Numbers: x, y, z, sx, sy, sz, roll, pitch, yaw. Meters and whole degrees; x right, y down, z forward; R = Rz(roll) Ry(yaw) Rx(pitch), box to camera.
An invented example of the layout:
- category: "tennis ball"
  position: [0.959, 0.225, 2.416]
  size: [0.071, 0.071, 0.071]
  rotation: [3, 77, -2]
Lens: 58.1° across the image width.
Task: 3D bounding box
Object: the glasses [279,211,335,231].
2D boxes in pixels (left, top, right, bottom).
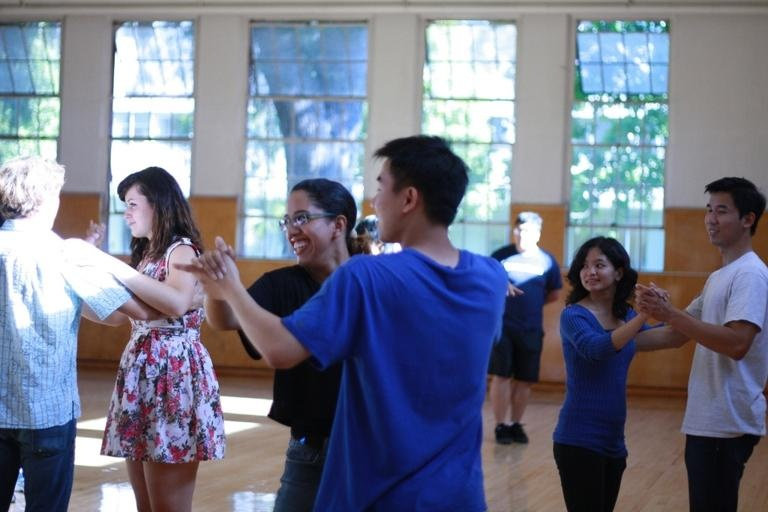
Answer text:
- category: "glasses"
  position: [-0.365, -0.169, 3.227]
  size: [0.138, 0.043, 0.132]
  rotation: [5, -13, -39]
